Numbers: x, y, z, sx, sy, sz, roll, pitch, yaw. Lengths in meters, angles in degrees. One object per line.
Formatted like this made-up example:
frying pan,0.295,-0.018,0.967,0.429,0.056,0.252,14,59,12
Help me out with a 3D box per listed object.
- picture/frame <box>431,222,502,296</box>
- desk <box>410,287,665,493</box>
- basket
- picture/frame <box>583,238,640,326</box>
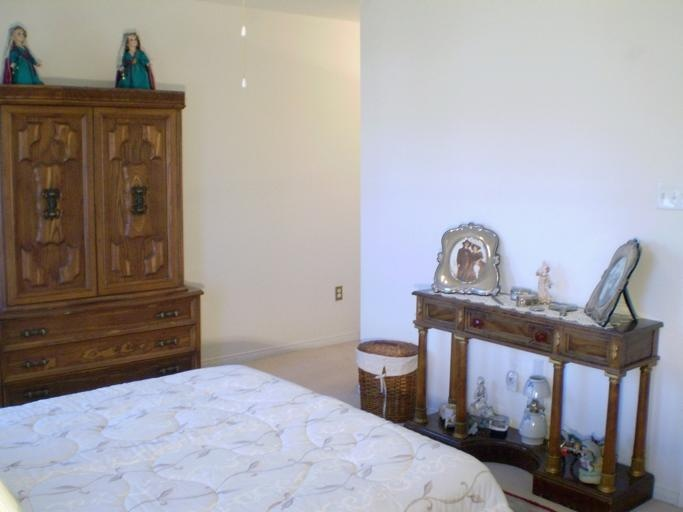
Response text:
picture/frame,0.850,0.026,3.670,0.450,0.466,0.038,9,-10,36
desk,1.083,0.732,3.404,0.433,0.835,1.349,-4,8,-45
basket,0.322,0.907,4.044,0.433,0.461,0.514,0,2,-12
picture/frame,1.443,0.136,2.945,0.211,0.428,0.320,4,15,15
